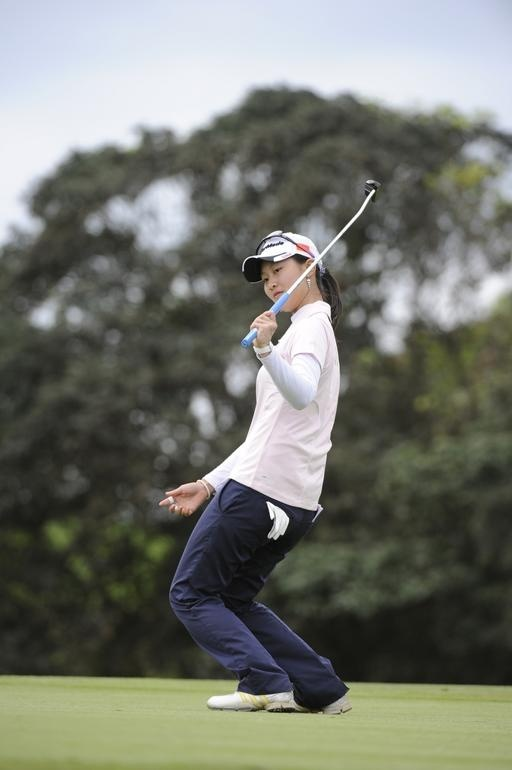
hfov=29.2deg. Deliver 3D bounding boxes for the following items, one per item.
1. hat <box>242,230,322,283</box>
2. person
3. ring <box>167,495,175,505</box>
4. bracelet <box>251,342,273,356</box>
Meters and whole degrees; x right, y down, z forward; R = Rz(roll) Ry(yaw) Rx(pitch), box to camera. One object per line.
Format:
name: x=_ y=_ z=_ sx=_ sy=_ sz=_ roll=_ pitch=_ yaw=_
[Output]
hat: x=0.056 y=-0.341 z=2.580 sx=0.199 sy=0.099 sz=0.113 roll=2 pitch=-21 yaw=-26
person: x=-0.013 y=0.241 z=2.460 sx=0.469 sy=1.245 sz=0.536 roll=-5 pitch=7 yaw=8
ring: x=-0.230 y=0.305 z=2.601 sx=0.012 sy=0.024 sz=0.029 roll=3 pitch=-5 yaw=43
bracelet: x=0.013 y=-0.079 z=2.182 sx=0.040 sy=0.019 sz=0.029 roll=-4 pitch=-21 yaw=-38
